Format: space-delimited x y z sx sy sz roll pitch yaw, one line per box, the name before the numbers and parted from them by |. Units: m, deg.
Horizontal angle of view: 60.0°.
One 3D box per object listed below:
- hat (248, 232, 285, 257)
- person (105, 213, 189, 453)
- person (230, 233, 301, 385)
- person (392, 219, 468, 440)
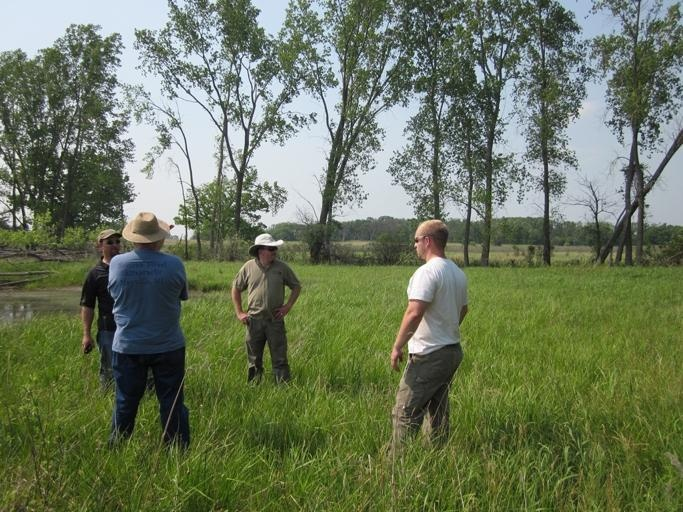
hat | -1.582 -0.333 12.233 0.469 0.300 0.597 1 -8 -30
person | -3.296 1.357 10.193 1.167 4.257 1.109 0 -2 -13
person | -1.628 1.180 12.470 1.212 3.583 0.781 1 19 -1
person | 1.467 1.243 9.974 1.174 3.280 0.510 3 2 -23
